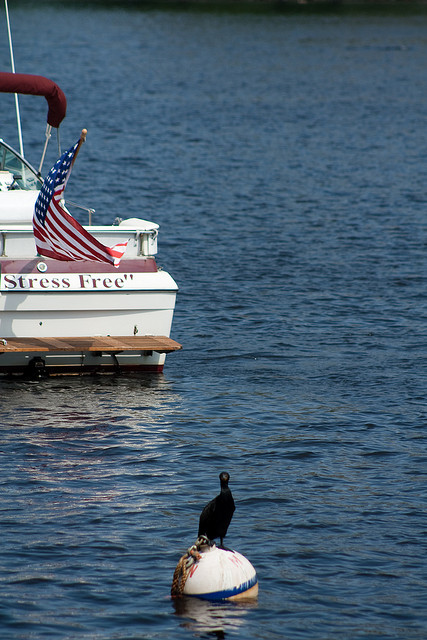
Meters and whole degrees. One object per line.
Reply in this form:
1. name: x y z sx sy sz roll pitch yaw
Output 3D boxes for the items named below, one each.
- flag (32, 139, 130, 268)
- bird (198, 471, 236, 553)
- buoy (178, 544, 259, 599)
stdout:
1. flag: -2.344 -2.144 29.451 1.529 2.431 0.391 4 31 -4
2. bird: 0.029 2.457 21.926 0.463 1.148 0.564 1 14 -1
3. buoy: 0.055 3.227 21.750 0.704 0.856 0.713 -13 9 0
